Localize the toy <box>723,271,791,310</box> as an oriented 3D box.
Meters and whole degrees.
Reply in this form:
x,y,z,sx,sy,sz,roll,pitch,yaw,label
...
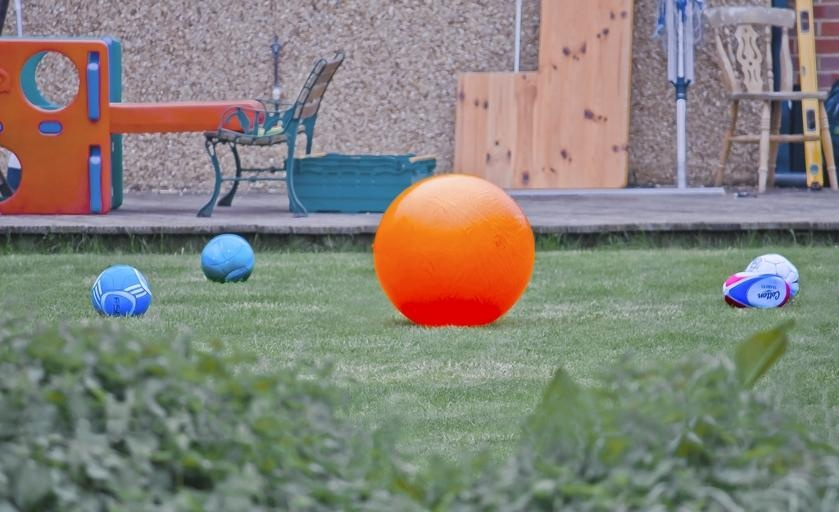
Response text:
x,y,z,sx,sy,sz,roll,pitch,yaw,label
2.159,0.221,10.055,0.322,0.176,0.229,-1,-2,9,toy

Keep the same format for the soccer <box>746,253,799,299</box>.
x,y,z,sx,sy,sz,roll,pitch,yaw,label
2.286,0.119,10.118,0.364,0.273,0.317,0,3,21,soccer

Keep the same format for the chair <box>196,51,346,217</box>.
x,y,z,sx,sy,sz,roll,pitch,yaw,label
-1.239,-1.090,13.143,1.104,1.369,2.930,0,10,-5,chair

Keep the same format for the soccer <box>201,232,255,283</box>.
x,y,z,sx,sy,sz,roll,pitch,yaw,label
-1.301,0.011,10.569,0.348,0.282,0.231,-1,10,-10,soccer

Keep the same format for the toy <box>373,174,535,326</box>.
x,y,z,sx,sy,sz,roll,pitch,yaw,label
0.208,-0.091,10.290,1.085,1.000,0.847,1,3,0,toy
